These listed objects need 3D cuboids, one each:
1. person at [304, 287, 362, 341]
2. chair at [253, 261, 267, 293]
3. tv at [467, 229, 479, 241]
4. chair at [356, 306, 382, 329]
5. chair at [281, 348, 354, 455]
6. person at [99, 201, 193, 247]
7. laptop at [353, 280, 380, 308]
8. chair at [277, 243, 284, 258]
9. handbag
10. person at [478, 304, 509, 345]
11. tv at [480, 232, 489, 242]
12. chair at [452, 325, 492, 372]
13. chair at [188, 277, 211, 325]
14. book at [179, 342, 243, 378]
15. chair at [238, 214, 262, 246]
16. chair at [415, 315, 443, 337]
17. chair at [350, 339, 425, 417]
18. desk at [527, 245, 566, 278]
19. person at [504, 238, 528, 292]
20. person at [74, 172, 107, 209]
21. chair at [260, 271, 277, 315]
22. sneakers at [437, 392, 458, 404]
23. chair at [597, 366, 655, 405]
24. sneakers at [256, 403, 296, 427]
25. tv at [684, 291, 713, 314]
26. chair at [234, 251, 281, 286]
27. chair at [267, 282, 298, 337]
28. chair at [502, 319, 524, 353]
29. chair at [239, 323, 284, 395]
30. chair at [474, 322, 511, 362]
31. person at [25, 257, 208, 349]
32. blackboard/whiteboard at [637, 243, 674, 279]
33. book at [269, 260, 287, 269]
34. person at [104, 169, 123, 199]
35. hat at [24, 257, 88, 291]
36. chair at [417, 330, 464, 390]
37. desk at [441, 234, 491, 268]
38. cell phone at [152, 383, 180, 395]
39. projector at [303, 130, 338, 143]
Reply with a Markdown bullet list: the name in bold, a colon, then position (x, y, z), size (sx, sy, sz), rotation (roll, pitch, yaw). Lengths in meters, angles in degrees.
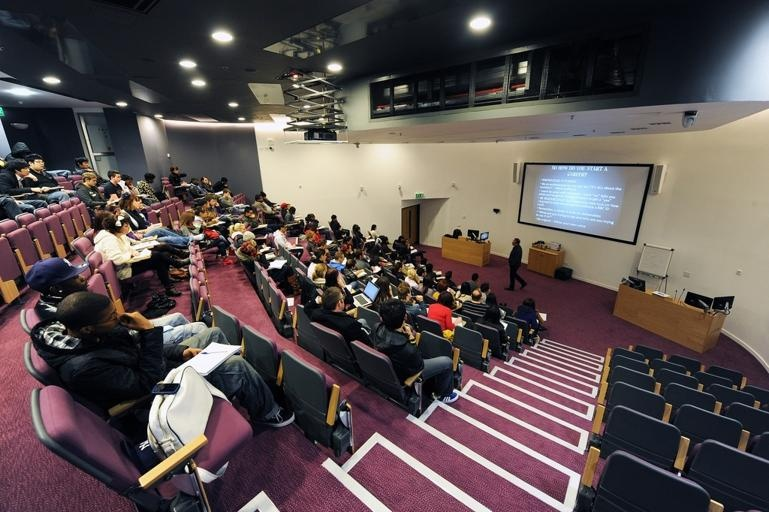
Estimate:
- **person**: position (-0.766, 0.843, 5.933), size (0.477, 0.854, 0.433), rotation (19, 69, 32)
- **chair**: position (-2.154, 0.379, 7.179), size (0.243, 0.329, 0.450), rotation (-5, 25, -30)
- **tv**: position (2.787, -0.646, 12.798), size (0.330, 0.307, 0.275), rotation (6, 19, 20)
- **chair**: position (-0.243, 0.936, 6.467), size (0.293, 0.481, 0.327), rotation (14, 26, 36)
- **chair**: position (-0.807, 1.782, 5.020), size (0.444, 1.245, 0.869), rotation (-22, 30, -40)
- **person**: position (-4.194, -0.589, 7.438), size (1.440, 0.771, 0.601), rotation (11, 24, -7)
- **laptop**: position (-0.239, 0.677, 7.272), size (0.293, 0.392, 0.470), rotation (12, 9, -41)
- **chair**: position (-2.216, -0.103, 8.868), size (0.134, 0.238, 0.249), rotation (-16, 22, -36)
- **handbag**: position (-2.144, 1.665, 4.495), size (0.562, 0.944, 0.947), rotation (5, 39, 2)
- **person**: position (1.924, 1.210, 7.293), size (0.473, 0.937, 0.314), rotation (12, 31, 30)
- **tv**: position (3.059, -0.580, 12.606), size (0.294, 0.293, 0.105), rotation (10, 5, 41)
- **chair**: position (1.398, 1.481, 6.631), size (0.520, 0.715, 0.501), rotation (11, 25, 36)
- **chair**: position (-2.724, 0.671, 6.100), size (0.177, 0.260, 0.599), rotation (-3, 18, -29)
- **book**: position (-1.936, 1.134, 4.682), size (0.397, 0.094, 0.385), rotation (-10, 13, -23)
- **chair**: position (-3.124, -0.585, 9.630), size (0.384, 0.375, 0.901), rotation (-3, 12, -33)
- **chair**: position (0.703, 1.082, 6.553), size (0.334, 0.393, 0.289), rotation (-16, 21, -40)
- **chair**: position (0.110, 1.521, 5.754), size (1.007, 1.097, 0.848), rotation (-12, 19, -41)
- **desk**: position (4.632, 0.130, 11.922), size (0.922, 0.763, 0.349), rotation (16, 24, 41)
- **person**: position (3.663, 0.098, 11.174), size (0.493, 1.374, 1.358), rotation (6, 19, 19)
- **person**: position (-5.938, -1.267, 8.518), size (0.627, 0.782, 0.549), rotation (-5, 17, -19)
- **chair**: position (-1.899, 0.624, 6.783), size (0.295, 0.397, 0.581), rotation (-8, 26, -30)
- **sneakers**: position (0.893, 1.946, 5.770), size (0.278, 0.116, 0.123), rotation (-7, 15, -13)
- **chair**: position (3.554, 1.724, 6.007), size (0.544, 0.717, 0.586), rotation (12, -17, 26)
- **sneakers**: position (-1.306, 1.940, 5.057), size (0.428, 0.178, 0.240), rotation (1, 9, 19)
- **tv**: position (6.419, 0.915, 8.436), size (0.346, 0.410, 0.430), rotation (-21, 25, -29)
- **chair**: position (-2.401, 0.128, 7.921), size (0.699, 0.747, 0.736), rotation (-9, 33, -24)
- **chair**: position (-1.639, 0.875, 6.679), size (0.443, 0.755, 0.549), rotation (-14, 29, -33)
- **chair**: position (2.386, 1.467, 7.651), size (0.428, 0.564, 0.420), rotation (10, 20, 35)
- **chair**: position (-1.531, 1.287, 5.115), size (0.565, 0.805, 0.468), rotation (22, 29, 39)
- **chair**: position (1.824, 1.441, 7.023), size (0.476, 0.649, 0.452), rotation (13, 30, 42)
- **person**: position (-3.729, 0.750, 5.630), size (0.917, 1.382, 1.874), rotation (-12, -4, 7)
- **blackboard/whiteboard**: position (6.477, 0.112, 9.802), size (0.114, 0.694, 0.809), rotation (0, 6, -27)
- **book**: position (-2.015, 0.152, 7.902), size (0.320, 0.108, 0.408), rotation (0, 17, 3)
- **person**: position (-5.971, -1.537, 9.068), size (0.333, 0.545, 0.790), rotation (-8, 19, -22)
- **hat**: position (-3.946, 0.130, 4.991), size (0.660, 0.257, 0.410), rotation (-27, 32, -30)
- **chair**: position (0.774, 1.465, 5.854), size (0.633, 0.841, 0.633), rotation (12, 16, 40)
- **desk**: position (2.565, -0.194, 13.121), size (0.447, 0.819, 1.546), rotation (-16, 23, -38)
- **cell phone**: position (-2.254, 1.361, 4.302), size (0.325, 0.035, 0.177), rotation (-3, 21, 6)
- **projector**: position (-1.238, -2.352, 8.164), size (0.328, 0.222, 0.666), rotation (12, 21, 33)
